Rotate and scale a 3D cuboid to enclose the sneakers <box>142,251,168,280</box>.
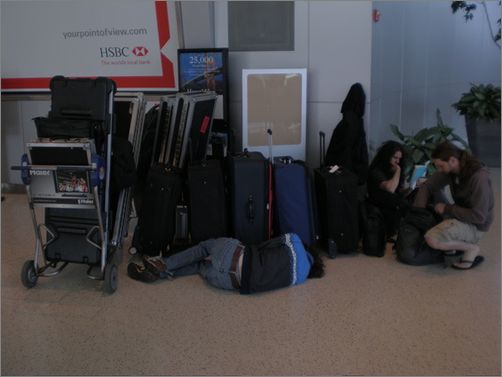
[{"bbox_3d":[-0.837,0.665,3.657,0.140,0.110,0.307,-10,42,-34],"label":"sneakers"}]

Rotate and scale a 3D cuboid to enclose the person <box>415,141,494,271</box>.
[{"bbox_3d":[1.898,0.124,3.918,0.641,1.132,0.550,1,9,13],"label":"person"}]

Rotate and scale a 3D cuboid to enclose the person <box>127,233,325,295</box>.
[{"bbox_3d":[-0.132,0.444,3.439,1.134,0.356,0.735,-6,15,-29],"label":"person"}]

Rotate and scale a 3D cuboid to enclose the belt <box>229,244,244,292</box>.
[{"bbox_3d":[-0.113,0.633,3.419,0.079,0.199,0.271,6,25,-3],"label":"belt"}]

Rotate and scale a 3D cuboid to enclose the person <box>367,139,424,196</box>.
[{"bbox_3d":[1.591,-0.245,4.847,0.514,0.942,0.602,3,19,9],"label":"person"}]

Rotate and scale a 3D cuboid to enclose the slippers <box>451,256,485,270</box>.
[{"bbox_3d":[1.982,0.640,3.802,0.308,0.055,0.121,-12,16,-25],"label":"slippers"}]

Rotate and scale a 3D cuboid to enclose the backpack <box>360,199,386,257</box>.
[{"bbox_3d":[1.200,0.410,4.113,0.247,0.500,0.481,0,7,7],"label":"backpack"}]

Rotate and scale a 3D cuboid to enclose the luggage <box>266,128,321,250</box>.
[{"bbox_3d":[0.412,0.020,4.213,0.495,1.591,1.003,-3,10,-3],"label":"luggage"}]

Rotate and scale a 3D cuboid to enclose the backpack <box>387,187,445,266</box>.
[{"bbox_3d":[1.547,0.397,3.902,0.444,0.874,0.577,6,-12,21],"label":"backpack"}]

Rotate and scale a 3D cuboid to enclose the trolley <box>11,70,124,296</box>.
[{"bbox_3d":[-1.488,-0.026,3.469,0.845,1.787,0.537,-2,9,0],"label":"trolley"}]
